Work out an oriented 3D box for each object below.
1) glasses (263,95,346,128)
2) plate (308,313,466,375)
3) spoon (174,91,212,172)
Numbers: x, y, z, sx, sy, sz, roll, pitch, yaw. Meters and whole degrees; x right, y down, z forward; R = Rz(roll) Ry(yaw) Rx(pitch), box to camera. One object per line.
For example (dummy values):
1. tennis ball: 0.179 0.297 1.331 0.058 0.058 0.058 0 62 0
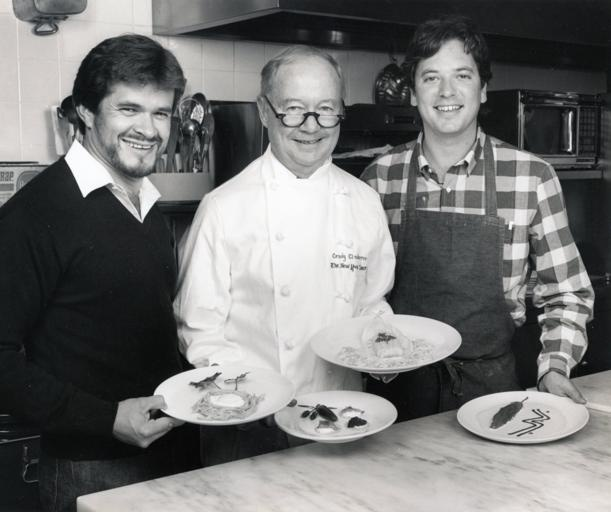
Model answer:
1. glasses: -0.009 -0.354 1.432 0.201 0.090 0.095 -1 8 2
2. plate: 0.189 0.210 1.356 0.348 0.098 0.235 -5 9 -28
3. spoon: -0.482 -0.537 2.534 0.122 0.378 0.056 2 0 -2
